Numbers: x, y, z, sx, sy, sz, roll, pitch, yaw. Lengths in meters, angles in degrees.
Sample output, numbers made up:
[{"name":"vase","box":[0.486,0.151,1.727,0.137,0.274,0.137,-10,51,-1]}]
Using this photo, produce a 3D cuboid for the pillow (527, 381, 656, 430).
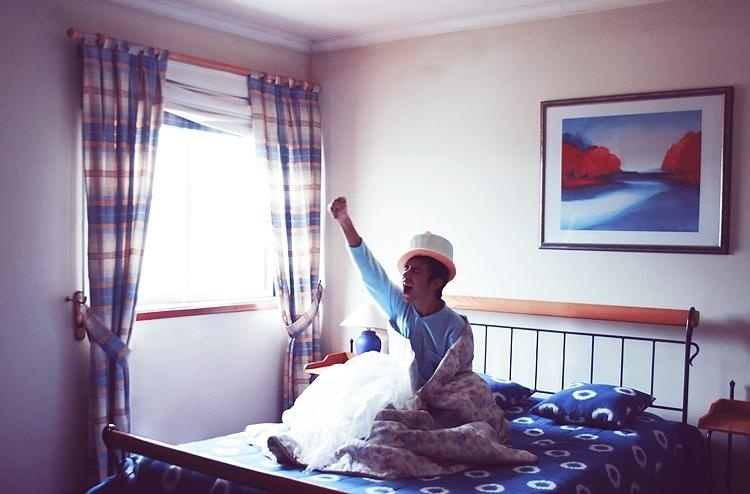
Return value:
[{"name":"pillow","box":[1.370,0.974,3.543,0.361,0.121,0.371,-7,-2,-30]}]

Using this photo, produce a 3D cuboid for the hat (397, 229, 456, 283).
[{"name":"hat","box":[0.308,0.062,3.176,0.290,0.139,0.272,29,-29,-22]}]

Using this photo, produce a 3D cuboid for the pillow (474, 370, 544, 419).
[{"name":"pillow","box":[0.936,1.070,3.900,0.395,0.165,0.373,11,18,-17]}]

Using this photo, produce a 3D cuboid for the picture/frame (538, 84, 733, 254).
[{"name":"picture/frame","box":[1.822,-0.531,3.905,1.240,1.138,0.087,1,3,26]}]

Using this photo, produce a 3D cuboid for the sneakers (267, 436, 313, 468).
[{"name":"sneakers","box":[-0.453,1.052,2.939,0.213,0.147,0.064,1,-2,20]}]

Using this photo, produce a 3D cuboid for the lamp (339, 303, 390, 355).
[{"name":"lamp","box":[-0.050,0.671,4.481,0.389,0.370,0.355,1,16,11]}]
